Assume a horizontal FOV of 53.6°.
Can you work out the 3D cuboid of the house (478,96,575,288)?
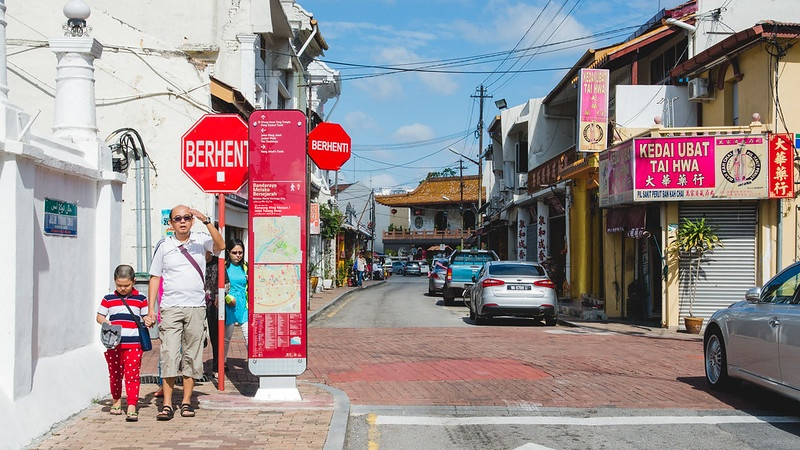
[{"bbox_3d":[6.218,-1.587,37.248,3.275,4.928,11.765,0,1,-4],"label":"house"}]

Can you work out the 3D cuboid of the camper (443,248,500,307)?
[{"bbox_3d":[3.135,2.026,33.338,2.208,1.970,4.602,4,2,4],"label":"camper"}]

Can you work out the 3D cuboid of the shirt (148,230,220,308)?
[{"bbox_3d":[-3.935,0.751,14.598,1.363,1.307,0.741,0,11,5],"label":"shirt"}]

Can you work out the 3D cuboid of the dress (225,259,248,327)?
[{"bbox_3d":[-3.422,1.441,16.621,0.425,1.257,0.387,1,5,-7],"label":"dress"}]

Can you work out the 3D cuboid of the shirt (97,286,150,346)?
[{"bbox_3d":[-4.984,1.654,14.284,1.277,1.330,0.500,0,-7,-10],"label":"shirt"}]
